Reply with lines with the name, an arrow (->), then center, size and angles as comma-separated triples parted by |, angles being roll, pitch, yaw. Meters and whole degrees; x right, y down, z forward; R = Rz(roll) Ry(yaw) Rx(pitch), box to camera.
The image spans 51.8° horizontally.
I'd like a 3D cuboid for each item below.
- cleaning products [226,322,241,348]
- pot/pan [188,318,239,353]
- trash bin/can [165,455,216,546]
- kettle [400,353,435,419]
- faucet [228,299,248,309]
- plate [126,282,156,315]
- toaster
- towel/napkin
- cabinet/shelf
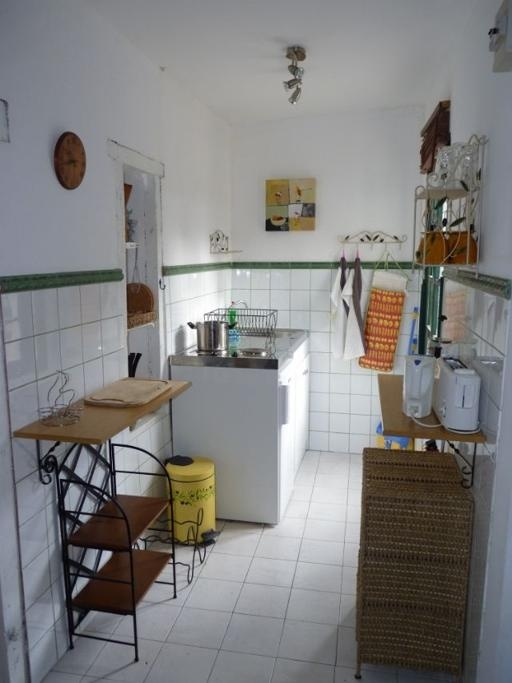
cleaning products -> -0.130, -0.033, 3.207 | 0.096, 0.214, 0.107 | 2, 14, 5
pot/pan -> -0.249, -0.055, 3.053 | 0.181, 0.212, 0.248 | 5, 9, 14
trash bin/can -> -0.311, 0.804, 2.660 | 0.221, 0.443, 0.269 | 3, 9, -1
kettle -> 0.572, 0.158, 1.860 | 0.101, 0.210, 0.181 | 2, 7, 19
faucet -> -0.149, -0.268, 3.952 | 0.136, 0.061, 0.274 | 1, 8, 12
plate -> -0.585, -0.223, 2.691 | 0.138, 0.152, 0.051 | -2, 7, -15
toaster -> 0.655, 0.179, 1.722 | 0.129, 0.195, 0.263 | 2, 8, 19
towel/napkin -> 0.646, -0.191, 3.706 | 0.221, 0.965, 0.160 | 2, 8, 14
cabinet/shelf -> -0.517, 0.681, 2.012 | 0.256, 0.872, 0.711 | -2, 6, 9
